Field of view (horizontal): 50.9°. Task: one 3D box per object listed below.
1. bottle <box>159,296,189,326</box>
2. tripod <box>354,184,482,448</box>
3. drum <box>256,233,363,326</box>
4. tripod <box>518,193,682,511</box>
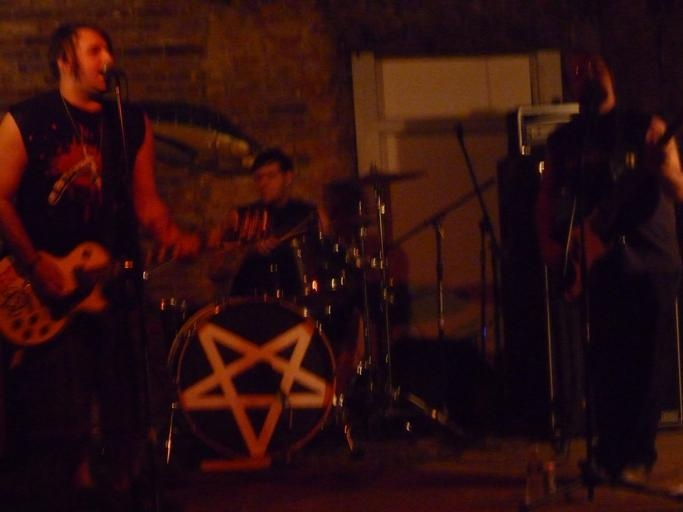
[{"bbox_3d":[-0.859,0.281,3.767,0.153,0.159,0.112,1,1,-42],"label":"bottle"},{"bbox_3d":[0.385,0.272,3.919,0.612,1.421,0.581,0,0,0],"label":"tripod"},{"bbox_3d":[-0.153,0.054,3.825,0.441,0.492,0.485,-16,32,-16],"label":"drum"},{"bbox_3d":[1.246,0.420,3.345,0.748,1.375,0.518,0,0,5],"label":"tripod"}]
